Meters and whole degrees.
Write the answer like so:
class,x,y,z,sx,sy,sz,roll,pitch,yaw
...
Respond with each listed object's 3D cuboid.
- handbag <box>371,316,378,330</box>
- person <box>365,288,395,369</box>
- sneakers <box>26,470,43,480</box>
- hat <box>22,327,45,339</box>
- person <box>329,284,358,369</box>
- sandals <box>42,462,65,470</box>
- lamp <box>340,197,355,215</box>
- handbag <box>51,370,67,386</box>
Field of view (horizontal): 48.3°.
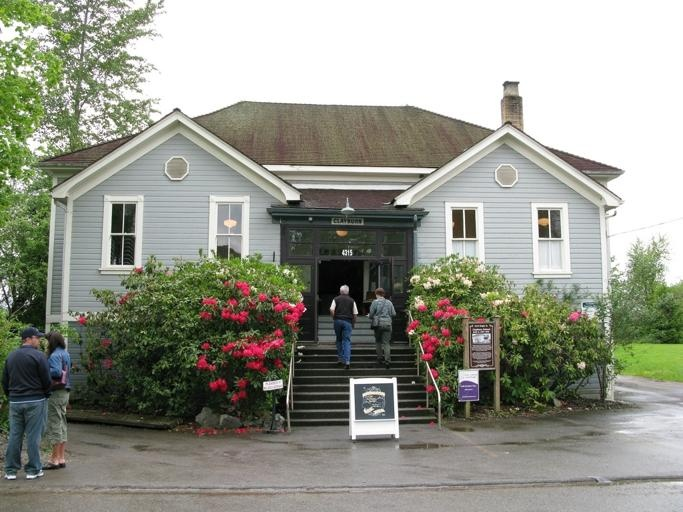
class,x,y,z,sx,sy,sz,roll,pitch,yaw
handbag,0.896,1.775,20.386,0.153,0.337,0.347,8,-13,-18
person,1.115,1.935,21.051,0.668,2.120,1.523,0,4,3
sneakers,-5.693,4.067,14.178,0.123,0.151,0.335,3,1,19
hat,-5.992,1.493,14.768,0.352,0.187,0.243,-1,1,-31
person,0.056,1.908,20.495,0.643,2.238,0.435,1,4,17
sandals,-5.587,4.083,14.806,0.361,0.139,0.127,6,-9,-17
lamp,0.186,-1.494,22.729,0.487,0.491,0.479,0,-17,0
handbag,-5.531,2.386,14.865,0.340,0.358,0.175,0,-7,-35
